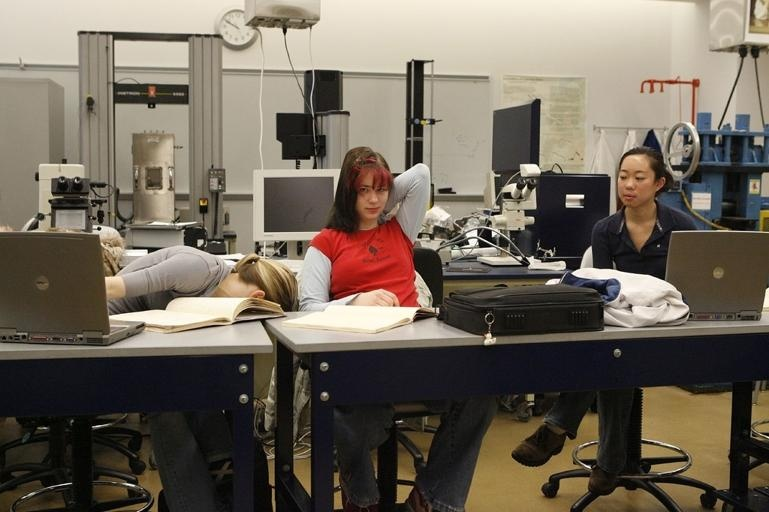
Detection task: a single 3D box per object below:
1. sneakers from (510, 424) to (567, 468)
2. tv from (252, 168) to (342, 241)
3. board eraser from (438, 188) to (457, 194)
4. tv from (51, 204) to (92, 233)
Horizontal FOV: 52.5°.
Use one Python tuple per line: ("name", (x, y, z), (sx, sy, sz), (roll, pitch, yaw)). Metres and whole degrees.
("sneakers", (0.831, 0.994, 4.165), (0.362, 0.174, 0.150), (-9, 19, -33))
("tv", (-0.566, -0.330, 5.005), (0.585, 0.460, 0.054), (-3, 15, -24))
("board eraser", (0.647, -0.685, 8.190), (0.108, 0.038, 0.087), (1, 1, -11))
("tv", (-1.857, -0.191, 4.725), (0.290, 0.210, 0.277), (0, -1, -11))
